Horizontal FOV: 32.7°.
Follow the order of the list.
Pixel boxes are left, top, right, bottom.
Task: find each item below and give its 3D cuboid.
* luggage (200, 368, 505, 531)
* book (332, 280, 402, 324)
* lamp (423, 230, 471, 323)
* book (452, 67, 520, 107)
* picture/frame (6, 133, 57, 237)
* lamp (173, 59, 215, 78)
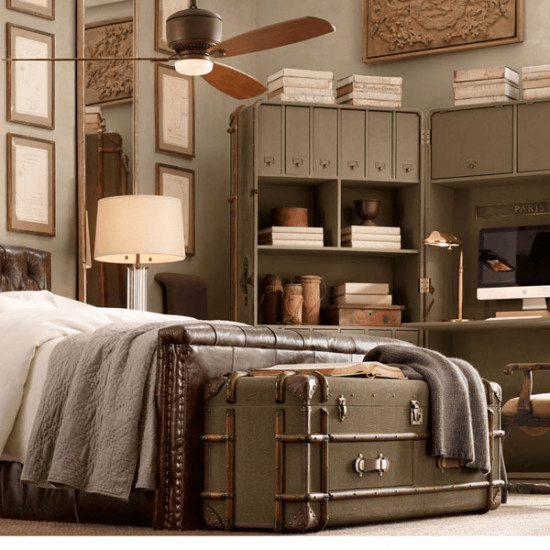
[{"bbox_3d":[0.319,0.594,3.139,0.390,0.514,1.066,-7,-11,43],"label":"luggage"},{"bbox_3d":[0.554,0.178,5.571,0.285,0.208,0.283,1,-3,-22],"label":"book"},{"bbox_3d":[1.029,-0.007,5.656,0.260,0.391,0.578,2,1,11],"label":"lamp"},{"bbox_3d":[1.271,-1.129,5.639,0.278,0.187,0.272,-3,3,-44],"label":"book"},{"bbox_3d":[-1.257,-0.469,4.838,0.082,0.506,0.305,2,1,40],"label":"picture/frame"},{"bbox_3d":[-0.286,-0.757,3.404,0.127,0.055,0.146,2,1,9],"label":"lamp"}]
